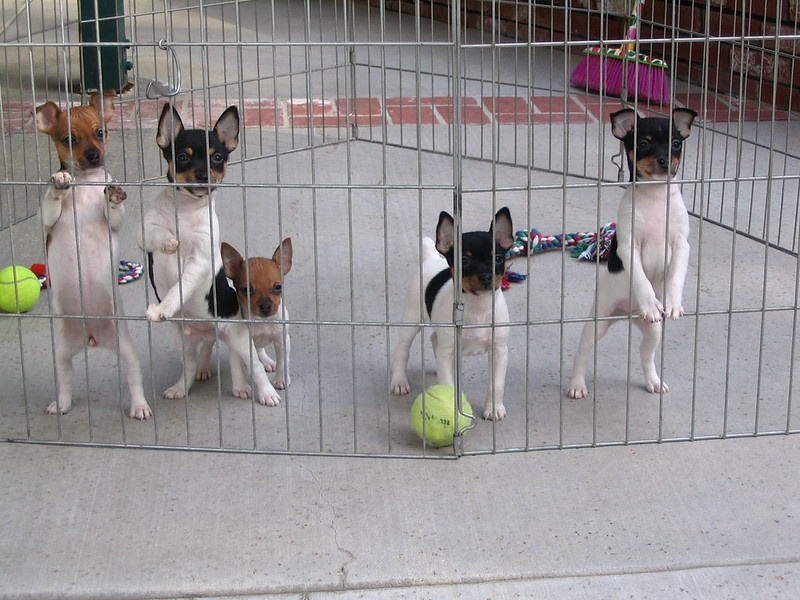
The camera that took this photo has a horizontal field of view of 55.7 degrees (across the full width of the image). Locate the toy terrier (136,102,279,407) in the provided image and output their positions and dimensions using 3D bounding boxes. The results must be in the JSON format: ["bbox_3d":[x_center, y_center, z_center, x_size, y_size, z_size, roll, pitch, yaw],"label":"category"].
[{"bbox_3d":[-1.135,-0.234,4.352,0.772,1.748,0.954,-10,20,-40],"label":"toy terrier"}]

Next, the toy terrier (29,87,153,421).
[{"bbox_3d":[-1.776,-0.242,4.280,0.804,1.818,0.594,13,18,33],"label":"toy terrier"}]

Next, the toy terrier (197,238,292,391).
[{"bbox_3d":[-1.008,0.069,4.823,0.523,0.999,1.075,-7,15,-26],"label":"toy terrier"}]

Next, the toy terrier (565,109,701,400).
[{"bbox_3d":[1.365,-0.231,4.386,0.593,1.713,0.810,8,16,19],"label":"toy terrier"}]

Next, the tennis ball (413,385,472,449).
[{"bbox_3d":[0.202,0.624,4.091,0.297,0.327,0.314,15,7,-2],"label":"tennis ball"}]
